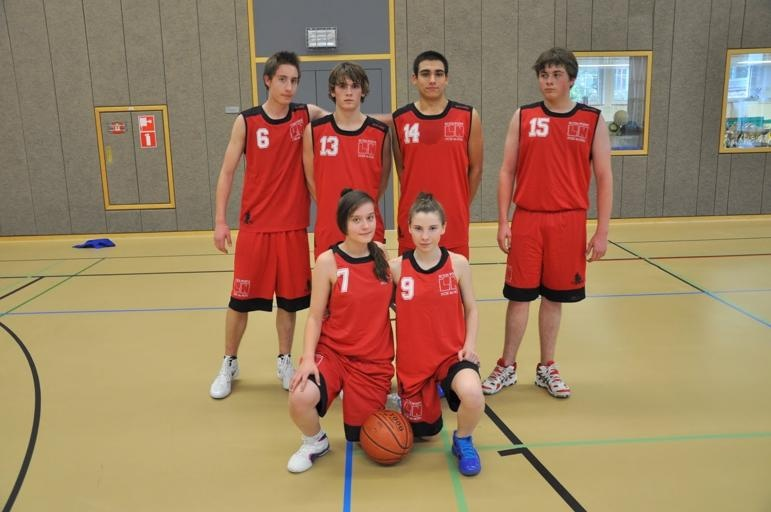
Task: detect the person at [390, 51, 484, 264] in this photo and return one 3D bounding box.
[{"bbox_3d":[0.400,-0.334,4.746,0.633,2.407,0.559,3,9,17],"label":"person"}]

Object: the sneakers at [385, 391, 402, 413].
[{"bbox_3d":[0.069,1.039,4.345,0.118,0.114,0.127,-1,47,12],"label":"sneakers"}]

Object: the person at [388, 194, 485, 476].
[{"bbox_3d":[0.334,0.511,4.002,0.580,1.751,0.635,-2,17,0],"label":"person"}]

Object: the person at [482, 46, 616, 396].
[{"bbox_3d":[1.235,-0.249,4.612,0.966,2.527,0.737,-18,23,-42],"label":"person"}]

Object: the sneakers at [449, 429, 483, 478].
[{"bbox_3d":[0.543,1.301,4.024,0.179,0.219,0.225,-3,17,-3],"label":"sneakers"}]

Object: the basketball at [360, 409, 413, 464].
[{"bbox_3d":[0.013,1.152,3.970,0.305,0.336,0.328,2,4,0],"label":"basketball"}]

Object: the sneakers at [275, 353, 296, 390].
[{"bbox_3d":[-0.792,0.906,4.843,0.098,0.223,0.301,-3,25,-27],"label":"sneakers"}]

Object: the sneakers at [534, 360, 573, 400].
[{"bbox_3d":[1.289,0.944,4.690,0.130,0.221,0.344,-6,13,-24],"label":"sneakers"}]

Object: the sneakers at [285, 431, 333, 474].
[{"bbox_3d":[-0.519,1.313,4.090,0.133,0.169,0.377,1,11,33],"label":"sneakers"}]

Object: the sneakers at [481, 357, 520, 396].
[{"bbox_3d":[0.889,0.934,4.763,0.407,0.236,0.143,-6,13,-44],"label":"sneakers"}]
